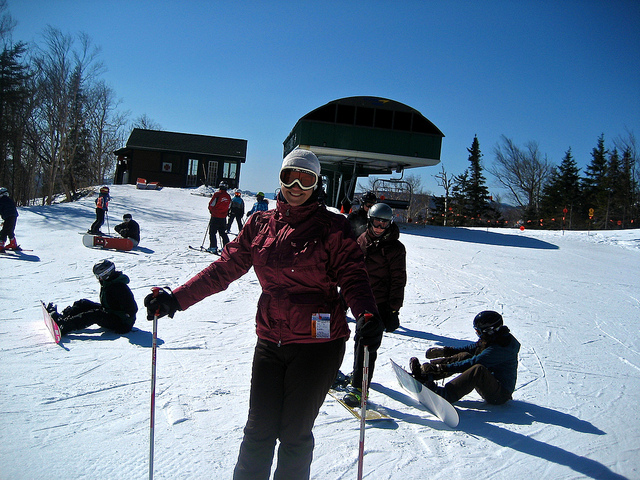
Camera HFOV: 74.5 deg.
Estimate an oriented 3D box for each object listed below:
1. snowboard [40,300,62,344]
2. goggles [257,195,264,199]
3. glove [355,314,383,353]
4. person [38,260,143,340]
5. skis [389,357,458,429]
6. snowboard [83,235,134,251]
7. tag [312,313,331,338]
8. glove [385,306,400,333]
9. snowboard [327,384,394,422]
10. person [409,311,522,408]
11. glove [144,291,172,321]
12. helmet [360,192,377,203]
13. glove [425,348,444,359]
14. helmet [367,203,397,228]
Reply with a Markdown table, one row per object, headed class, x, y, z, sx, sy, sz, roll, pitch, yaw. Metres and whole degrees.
| class | x | y | z | sx | sy | sz | roll | pitch | yaw |
| --- | --- | --- | --- | --- | --- | --- | --- | --- | --- |
| snowboard | -4.376 | 1.310 | 6.892 | 0.174 | 0.277 | 1.037 | 55 | -16 | -29 |
| goggles | -2.245 | -1.620 | 15.879 | 0.147 | 0.138 | 0.116 | 1 | 5 | -5 |
| glove | 0.363 | 0.672 | 3.172 | 0.188 | 0.266 | 0.099 | 24 | 0 | -9 |
| person | -3.842 | 1.000 | 7.101 | 1.499 | 1.220 | 0.991 | 3 | 3 | -41 |
| skis | 1.253 | 1.825 | 5.167 | 0.113 | 0.279 | 1.139 | -19 | 23 | -21 |
| snowboard | -6.452 | 0.085 | 12.863 | 1.996 | 0.584 | 0.311 | 7 | 1 | 18 |
| tag | 0.010 | 0.642 | 3.140 | 0.163 | 0.206 | 0.028 | 1 | -7 | -3 |
| glove | 0.898 | 0.995 | 5.266 | 0.152 | 0.252 | 0.295 | 6 | 4 | 3 |
| snowboard | 0.466 | 1.907 | 4.913 | 0.284 | 0.103 | 0.957 | -19 | 22 | -23 |
| person | 1.837 | 1.493 | 5.395 | 1.515 | 1.150 | 1.265 | -1 | 7 | 0 |
| glove | -1.264 | 0.515 | 3.323 | 0.172 | 0.250 | 0.091 | 4 | 2 | 2 |
| helmet | 0.898 | -0.768 | 7.730 | 0.213 | 0.213 | 0.195 | -16 | 15 | 12 |
| glove | 1.595 | 1.558 | 5.820 | 0.167 | 0.094 | 0.169 | 4 | -16 | -17 |
| helmet | 0.792 | -0.322 | 5.548 | 0.340 | 0.244 | 0.370 | 7 | 4 | 15 |
